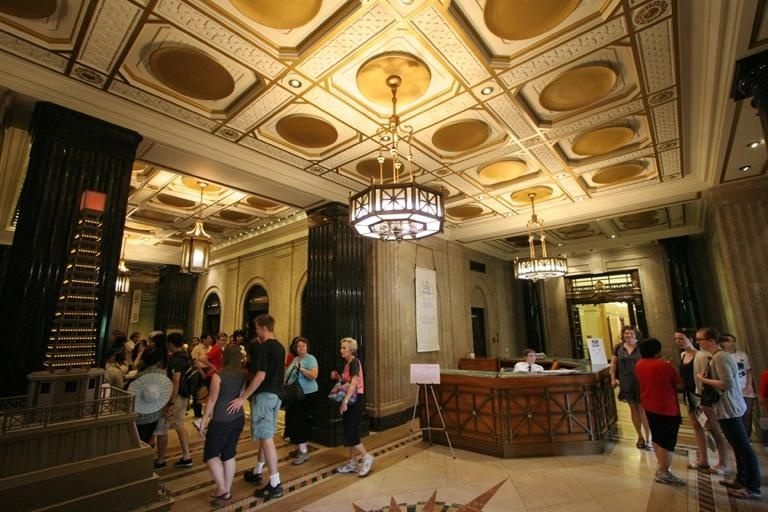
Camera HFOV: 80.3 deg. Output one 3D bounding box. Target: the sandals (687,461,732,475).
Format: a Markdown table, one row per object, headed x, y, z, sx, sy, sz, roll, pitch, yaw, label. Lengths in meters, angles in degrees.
| x | y | z | sx | sy | sz | roll | pitch | yaw | label |
| --- | --- | --- | --- | --- | --- | --- | --- | --- | --- |
| 4.969 | 3.190 | 6.925 | 0.456 | 0.107 | 0.176 | -6 | -15 | 40 | sandals |

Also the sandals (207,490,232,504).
| x | y | z | sx | sy | sz | roll | pitch | yaw | label |
| --- | --- | --- | --- | --- | --- | --- | --- | --- | --- |
| -2.305 | 3.382 | 6.393 | 0.305 | 0.101 | 0.138 | 4 | -10 | 0 | sandals |

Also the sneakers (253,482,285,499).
| x | y | z | sx | sy | sz | roll | pitch | yaw | label |
| --- | --- | --- | --- | --- | --- | --- | --- | --- | --- |
| -1.634 | 3.354 | 6.505 | 0.425 | 0.167 | 0.167 | 5 | -17 | -8 | sneakers |

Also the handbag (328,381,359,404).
| x | y | z | sx | sy | sz | roll | pitch | yaw | label |
| --- | --- | --- | --- | --- | --- | --- | --- | --- | --- |
| -0.593 | 2.182 | 7.288 | 0.408 | 0.332 | 0.156 | 24 | -1 | 30 | handbag |

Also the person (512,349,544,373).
| x | y | z | sx | sy | sz | roll | pitch | yaw | label |
| --- | --- | --- | --- | --- | --- | --- | --- | --- | --- |
| 2.792 | 2.021 | 8.880 | 0.465 | 0.342 | 0.717 | -1 | 3 | 13 | person |

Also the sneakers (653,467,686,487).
| x | y | z | sx | sy | sz | roll | pitch | yaw | label |
| --- | --- | --- | --- | --- | --- | --- | --- | --- | --- |
| 4.122 | 3.207 | 6.619 | 0.488 | 0.190 | 0.173 | -2 | -12 | 19 | sneakers |

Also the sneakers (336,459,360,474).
| x | y | z | sx | sy | sz | roll | pitch | yaw | label |
| --- | --- | --- | --- | --- | --- | --- | --- | --- | --- |
| -0.566 | 3.348 | 7.253 | 0.441 | 0.233 | 0.141 | 1 | -17 | 13 | sneakers |

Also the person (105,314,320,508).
| x | y | z | sx | sy | sz | roll | pitch | yaw | label |
| --- | --- | --- | --- | --- | --- | --- | --- | --- | --- |
| -1.940 | 2.165 | 6.791 | 1.154 | 2.545 | 1.433 | -1 | 3 | 4 | person |

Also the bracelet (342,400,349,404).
| x | y | z | sx | sy | sz | roll | pitch | yaw | label |
| --- | --- | --- | --- | --- | --- | --- | --- | --- | --- |
| -0.588 | 2.256 | 7.045 | 0.065 | 0.058 | 0.065 | 17 | 17 | 0 | bracelet |

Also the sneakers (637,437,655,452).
| x | y | z | sx | sy | sz | roll | pitch | yaw | label |
| --- | --- | --- | --- | --- | --- | --- | --- | --- | --- |
| 4.455 | 3.225 | 7.769 | 0.132 | 0.132 | 0.362 | -3 | -10 | 4 | sneakers |

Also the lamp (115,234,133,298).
| x | y | z | sx | sy | sz | roll | pitch | yaw | label |
| --- | --- | --- | --- | --- | --- | --- | --- | --- | --- |
| -6.729 | 0.230 | 11.679 | 0.496 | 1.502 | 0.471 | 9 | -5 | -32 | lamp |

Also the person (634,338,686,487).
| x | y | z | sx | sy | sz | roll | pitch | yaw | label |
| --- | --- | --- | --- | --- | --- | --- | --- | --- | --- |
| 3.994 | 2.245 | 6.582 | 0.600 | 2.105 | 0.447 | 0 | 3 | 29 | person |

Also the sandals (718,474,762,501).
| x | y | z | sx | sy | sz | roll | pitch | yaw | label |
| --- | --- | --- | --- | --- | --- | --- | --- | --- | --- |
| 4.951 | 3.269 | 6.420 | 0.180 | 0.193 | 0.505 | 7 | -11 | -32 | sandals |

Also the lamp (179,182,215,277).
| x | y | z | sx | sy | sz | roll | pitch | yaw | label |
| --- | --- | --- | --- | --- | --- | --- | --- | --- | --- |
| -3.714 | -0.606 | 9.212 | 0.629 | 1.784 | 0.601 | 7 | -6 | -45 | lamp |

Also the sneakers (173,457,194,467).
| x | y | z | sx | sy | sz | roll | pitch | yaw | label |
| --- | --- | --- | --- | --- | --- | --- | --- | --- | --- |
| -3.220 | 3.333 | 7.335 | 0.287 | 0.104 | 0.110 | 3 | -22 | -5 | sneakers |

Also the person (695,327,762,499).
| x | y | z | sx | sy | sz | roll | pitch | yaw | label |
| --- | --- | --- | --- | --- | --- | --- | --- | --- | --- |
| 4.906 | 2.201 | 6.498 | 0.487 | 2.249 | 0.746 | -4 | 4 | -42 | person |

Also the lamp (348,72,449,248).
| x | y | z | sx | sy | sz | roll | pitch | yaw | label |
| --- | --- | --- | --- | --- | --- | --- | --- | --- | --- |
| 0.228 | -1.425 | 7.138 | 1.342 | 2.378 | 2.339 | -1 | 3 | 7 | lamp |

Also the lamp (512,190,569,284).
| x | y | z | sx | sy | sz | roll | pitch | yaw | label |
| --- | --- | --- | --- | --- | --- | --- | --- | --- | --- |
| 3.563 | -0.521 | 10.639 | 1.316 | 2.064 | 1.267 | 5 | -12 | -33 | lamp |
